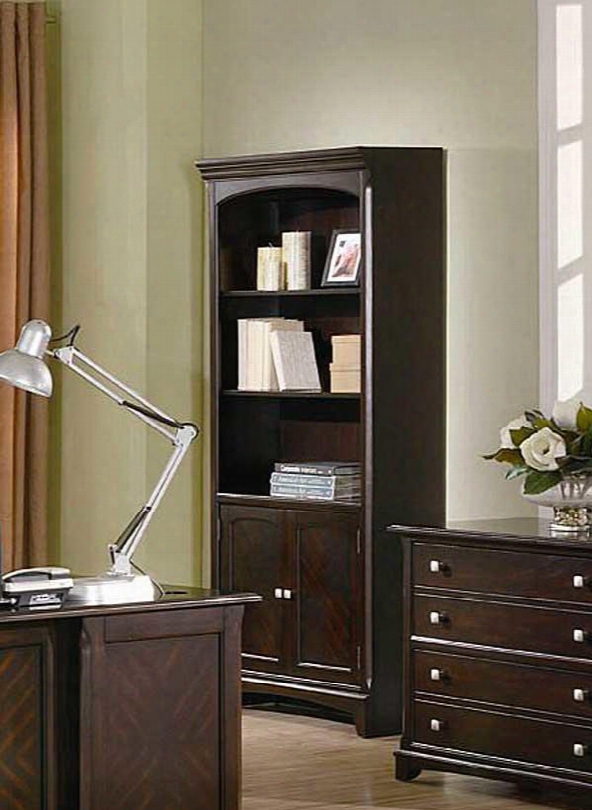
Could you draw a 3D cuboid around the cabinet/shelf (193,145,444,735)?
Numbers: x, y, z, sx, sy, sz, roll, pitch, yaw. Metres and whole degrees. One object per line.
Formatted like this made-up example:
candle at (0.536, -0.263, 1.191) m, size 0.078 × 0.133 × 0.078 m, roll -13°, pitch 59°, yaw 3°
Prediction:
cabinet/shelf at (-0.033, 0.172, 3.637) m, size 0.792 × 2.327 × 0.505 m, roll 0°, pitch 3°, yaw 6°
